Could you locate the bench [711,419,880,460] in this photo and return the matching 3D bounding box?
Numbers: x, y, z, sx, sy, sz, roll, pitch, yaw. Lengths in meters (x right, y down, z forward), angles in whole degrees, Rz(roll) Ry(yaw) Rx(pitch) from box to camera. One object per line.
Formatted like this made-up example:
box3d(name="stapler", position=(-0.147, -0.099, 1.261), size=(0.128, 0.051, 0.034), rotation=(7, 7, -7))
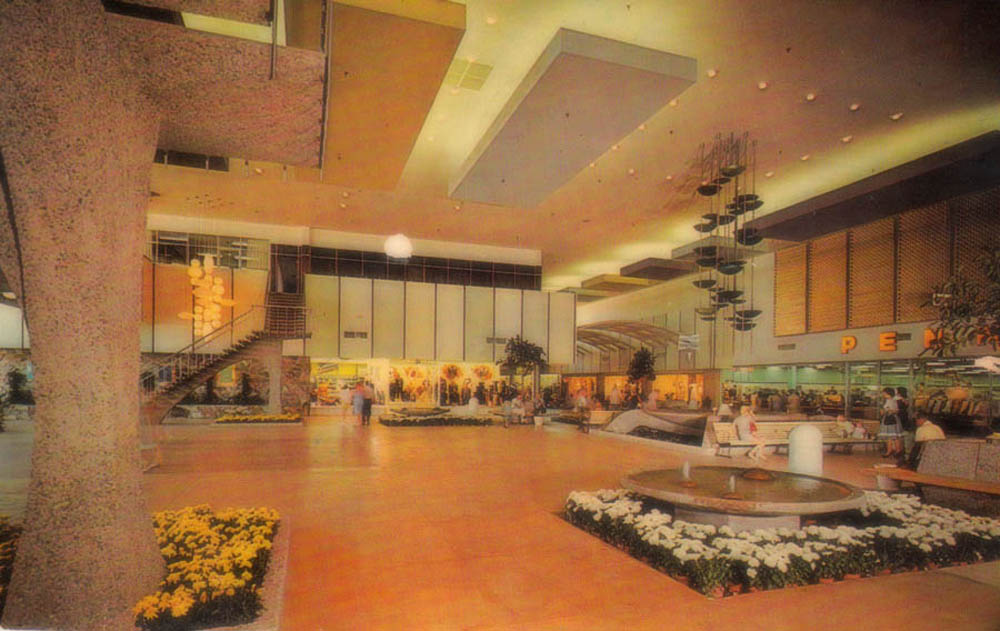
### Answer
box3d(name="bench", position=(8.102, 3.379, 17.893), size=(5.529, 0.942, 1.740), rotation=(5, -8, -29))
